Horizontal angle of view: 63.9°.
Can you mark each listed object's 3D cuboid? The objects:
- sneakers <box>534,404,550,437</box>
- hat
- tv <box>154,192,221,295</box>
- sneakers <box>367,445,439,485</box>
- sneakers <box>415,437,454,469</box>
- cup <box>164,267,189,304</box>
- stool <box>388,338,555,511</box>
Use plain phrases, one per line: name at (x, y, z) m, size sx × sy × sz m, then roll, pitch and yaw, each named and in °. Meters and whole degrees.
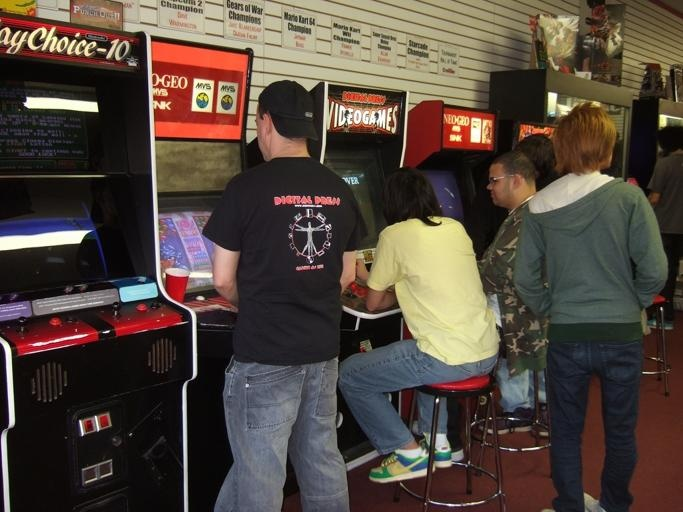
sneakers at (1.294, 1.057, 3.583) m, size 0.094 × 0.116 × 0.290 m, roll -3°, pitch -28°, yaw 12°
hat at (-0.203, -0.613, 2.209) m, size 0.226 × 0.176 × 0.311 m, roll 2°, pitch 31°, yaw -25°
tv at (-0.774, -0.054, 2.738) m, size 0.320 × 0.551 × 0.301 m, roll -1°, pitch -21°, yaw -31°
sneakers at (0.321, 1.114, 2.988) m, size 0.391 × 0.195 × 0.144 m, roll -4°, pitch 17°, yaw 8°
sneakers at (0.534, 1.099, 3.171) m, size 0.121 × 0.158 × 0.355 m, roll -4°, pitch -5°, yaw -9°
cup at (-0.751, 0.126, 2.430) m, size 0.132 × 0.145 × 0.083 m, roll 7°, pitch 11°, yaw 39°
stool at (0.766, 0.861, 3.268) m, size 0.825 × 1.204 × 0.819 m, roll -8°, pitch 7°, yaw -39°
